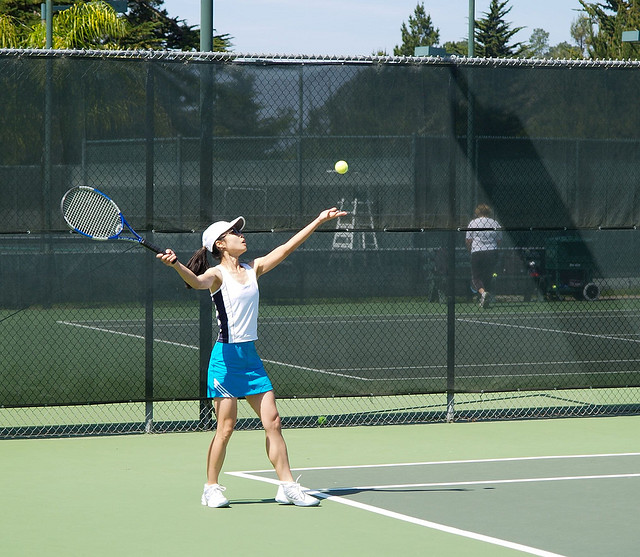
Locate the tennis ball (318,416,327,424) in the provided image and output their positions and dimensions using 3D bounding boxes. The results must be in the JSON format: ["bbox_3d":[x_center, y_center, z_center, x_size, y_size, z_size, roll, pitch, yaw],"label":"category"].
[{"bbox_3d":[0.034,1.434,8.732,0.054,0.070,0.118,5,8,43],"label":"tennis ball"}]

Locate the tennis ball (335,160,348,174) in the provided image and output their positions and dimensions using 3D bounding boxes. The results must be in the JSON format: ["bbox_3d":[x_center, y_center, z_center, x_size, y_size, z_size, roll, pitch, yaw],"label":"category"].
[{"bbox_3d":[0.206,-1.074,8.301,0.122,0.114,0.197,0,6,1],"label":"tennis ball"}]

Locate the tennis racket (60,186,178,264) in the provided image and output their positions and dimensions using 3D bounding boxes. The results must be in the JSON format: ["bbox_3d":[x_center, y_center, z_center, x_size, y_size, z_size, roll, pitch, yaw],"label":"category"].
[{"bbox_3d":[-1.611,-0.456,6.328,0.524,0.421,0.800,-1,6,-17],"label":"tennis racket"}]

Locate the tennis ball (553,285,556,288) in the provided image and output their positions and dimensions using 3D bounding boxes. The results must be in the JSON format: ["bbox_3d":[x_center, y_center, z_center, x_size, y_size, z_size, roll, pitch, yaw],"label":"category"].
[{"bbox_3d":[3.326,0.115,12.261,0.041,0.031,0.048,0,2,-2],"label":"tennis ball"}]
